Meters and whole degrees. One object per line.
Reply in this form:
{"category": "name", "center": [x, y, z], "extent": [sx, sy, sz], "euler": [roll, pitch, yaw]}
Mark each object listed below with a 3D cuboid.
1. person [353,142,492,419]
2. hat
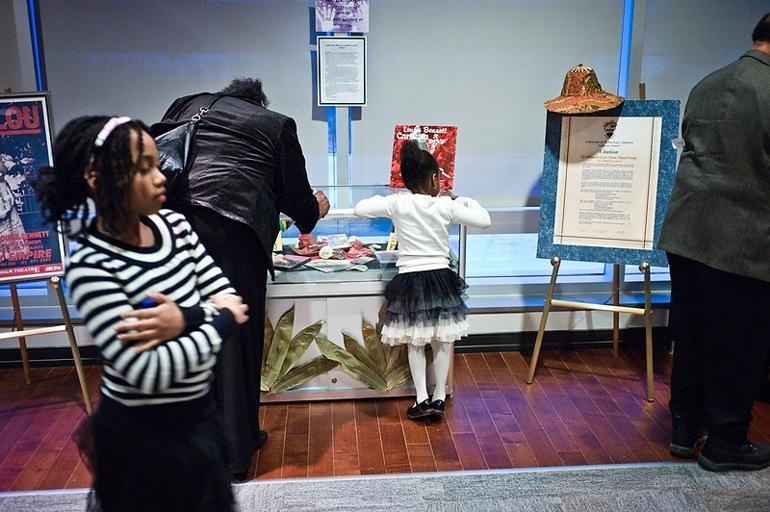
{"category": "person", "center": [0.217, 0.145, 3.291], "extent": [0.719, 1.573, 0.393], "euler": [1, 16, 9]}
{"category": "hat", "center": [1.178, -0.968, 3.415], "extent": [0.337, 0.190, 0.342], "euler": [13, 30, 41]}
